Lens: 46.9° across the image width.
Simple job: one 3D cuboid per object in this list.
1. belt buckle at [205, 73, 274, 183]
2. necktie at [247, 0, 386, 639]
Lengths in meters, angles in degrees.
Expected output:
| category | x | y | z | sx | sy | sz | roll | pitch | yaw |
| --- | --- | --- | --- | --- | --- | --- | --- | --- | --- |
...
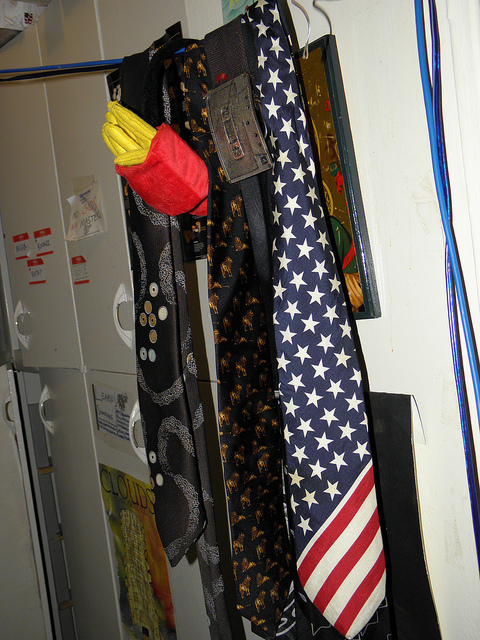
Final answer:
| category | x | y | z | sx | sy | sz | roll | pitch | yaw |
| --- | --- | --- | --- | --- | --- | --- | --- | --- | --- |
| belt buckle | 0.000 | -0.218 | 0.648 | 0.065 | 0.127 | 0.031 | -8 | 12 | 36 |
| necktie | 0.093 | -0.008 | 0.661 | 0.122 | 0.762 | 0.060 | -1 | 7 | 43 |
